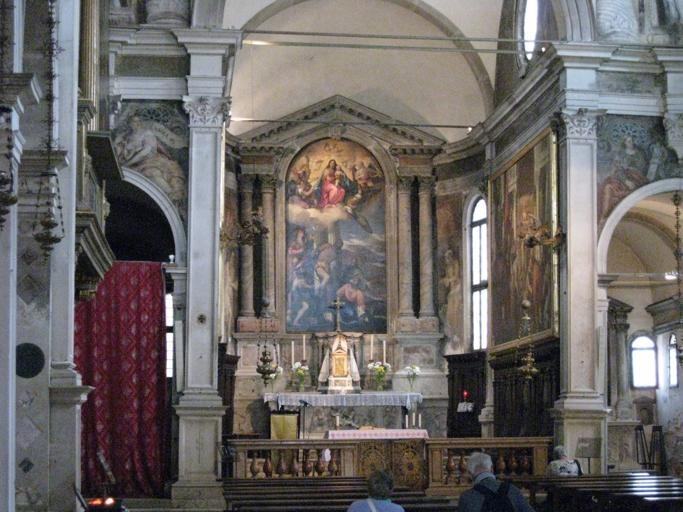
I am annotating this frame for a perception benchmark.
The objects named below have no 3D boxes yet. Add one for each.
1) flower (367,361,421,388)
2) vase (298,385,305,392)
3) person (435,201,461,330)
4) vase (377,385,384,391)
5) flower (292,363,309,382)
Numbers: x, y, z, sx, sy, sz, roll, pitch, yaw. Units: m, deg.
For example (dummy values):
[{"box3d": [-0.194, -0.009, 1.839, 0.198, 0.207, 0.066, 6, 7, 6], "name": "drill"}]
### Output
[{"box3d": [1.082, 2.565, 37.456, 1.304, 0.628, 0.736, 6, -14, -31], "name": "flower"}, {"box3d": [-0.883, 2.789, 36.881, 0.105, 0.145, 0.040, -8, -3, 3], "name": "vase"}, {"box3d": [2.324, 0.179, 38.018, 0.268, 3.020, 0.918, 7, -14, -32], "name": "person"}, {"box3d": [0.833, 2.806, 37.228, 0.091, 0.158, 0.387, -3, -12, 11], "name": "vase"}, {"box3d": [-0.899, 2.435, 36.844, 0.377, 0.502, 0.460, -1, -5, -1], "name": "flower"}]
